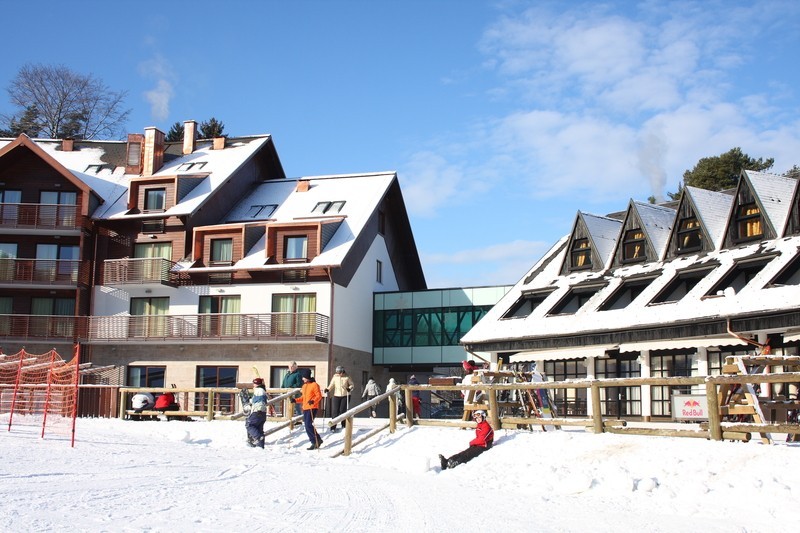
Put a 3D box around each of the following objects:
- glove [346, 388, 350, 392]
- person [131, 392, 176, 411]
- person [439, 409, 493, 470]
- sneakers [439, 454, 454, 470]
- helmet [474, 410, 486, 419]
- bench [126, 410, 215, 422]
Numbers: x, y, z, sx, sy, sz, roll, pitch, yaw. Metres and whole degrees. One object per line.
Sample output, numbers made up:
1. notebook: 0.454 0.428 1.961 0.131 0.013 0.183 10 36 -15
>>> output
1. glove: -1.913 4.627 27.521 0.111 0.111 0.101 30 -52 -17
2. person: -10.431 5.793 31.241 1.375 0.484 0.958 4 -6 -19
3. person: 1.754 4.924 20.556 2.117 1.123 0.887 -13 -1 -32
4. sneakers: 1.292 5.338 19.856 0.198 0.573 0.268 -6 -7 32
5. helmet: 2.310 4.224 20.794 0.290 0.343 0.353 1 -34 6
6. bench: -10.055 6.362 31.229 1.979 0.205 1.870 1 -6 11
